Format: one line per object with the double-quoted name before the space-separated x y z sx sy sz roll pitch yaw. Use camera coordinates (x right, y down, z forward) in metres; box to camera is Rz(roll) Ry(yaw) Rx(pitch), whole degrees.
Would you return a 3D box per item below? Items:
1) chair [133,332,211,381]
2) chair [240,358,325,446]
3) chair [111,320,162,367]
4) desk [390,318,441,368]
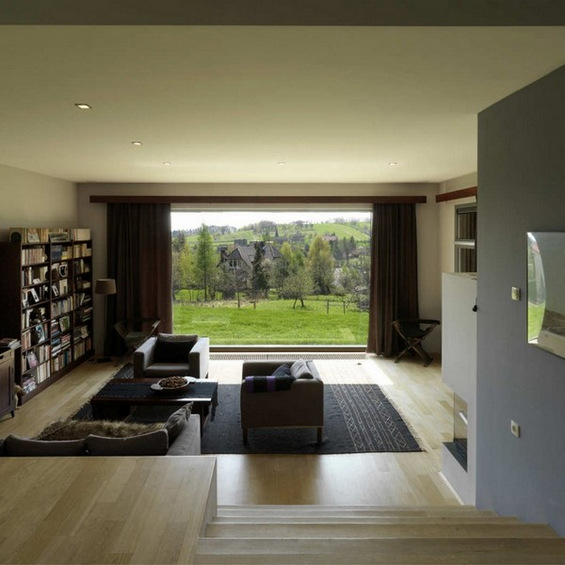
"chair" -1.435 0.963 5.863 0.583 0.607 0.625 1 -4 -2
"chair" 0.018 1.129 4.711 0.630 0.664 0.982 1 1 0
"chair" -2.379 0.896 7.248 0.664 0.786 0.684 0 2 -3
"desk" 2.211 0.946 7.549 0.697 0.915 0.861 4 -24 27
